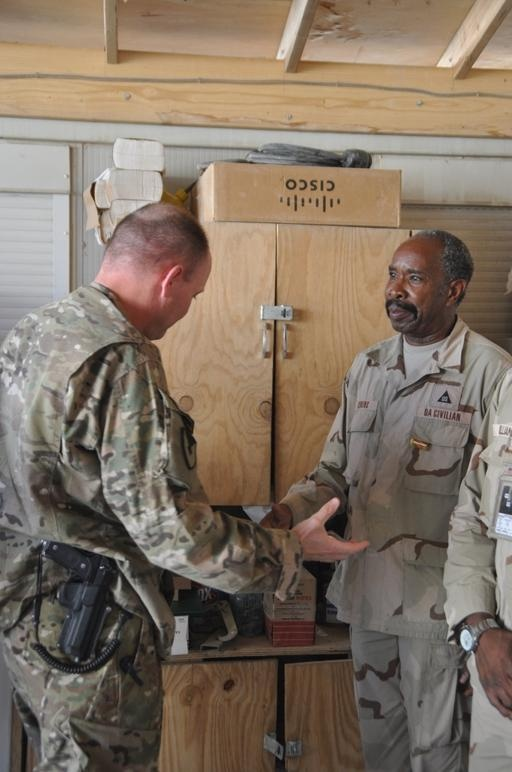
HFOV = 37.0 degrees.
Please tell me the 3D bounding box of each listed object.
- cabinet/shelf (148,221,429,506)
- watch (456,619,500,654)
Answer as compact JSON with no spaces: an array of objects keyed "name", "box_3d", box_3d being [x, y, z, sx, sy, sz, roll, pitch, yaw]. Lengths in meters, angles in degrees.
[{"name":"cabinet/shelf","box_3d":[0.090,-0.077,2.281,1.075,0.891,0.388,0,3,-6]},{"name":"watch","box_3d":[0.491,0.543,1.672,0.079,0.045,0.076,-8,-26,-18]}]
